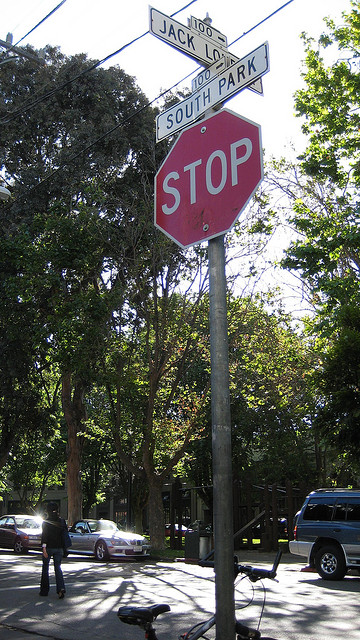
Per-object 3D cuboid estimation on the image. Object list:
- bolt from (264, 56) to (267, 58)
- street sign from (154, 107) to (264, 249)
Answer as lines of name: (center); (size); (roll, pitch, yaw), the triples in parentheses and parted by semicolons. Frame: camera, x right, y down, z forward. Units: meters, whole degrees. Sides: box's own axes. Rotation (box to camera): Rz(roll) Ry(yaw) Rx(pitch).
bolt: (0.400, -1.231, 2.940); (0.012, 0.010, 0.006); (-4, -2, 17)
street sign: (0.111, -0.675, 2.961); (0.185, 0.470, 0.783); (-2, -3, -32)
